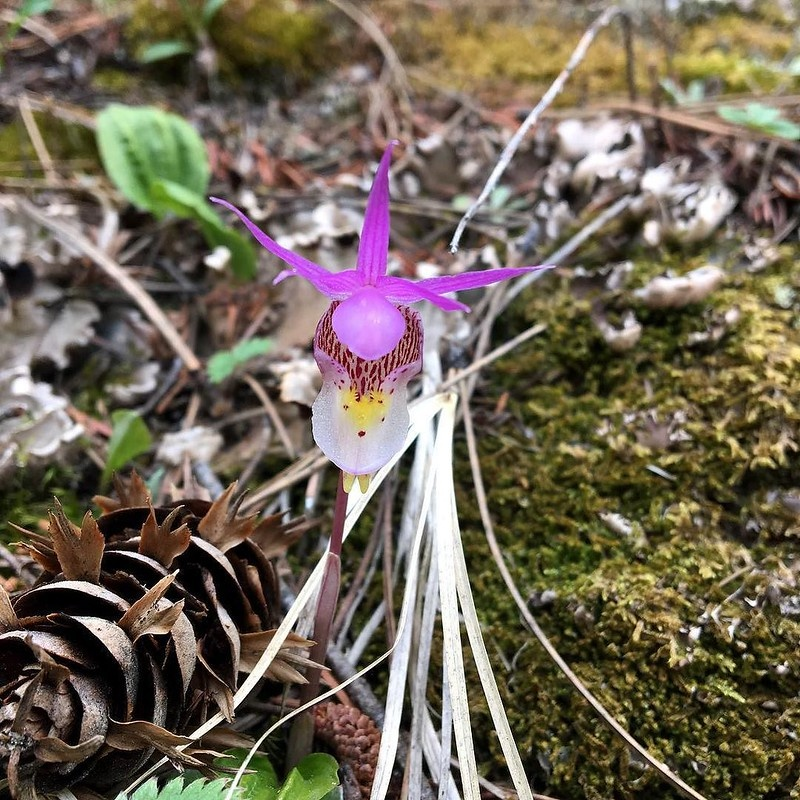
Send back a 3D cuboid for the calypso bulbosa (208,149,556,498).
[{"bbox_3d":[-0.083,-0.164,2.143,0.721,0.729,0.702,3,54,-5],"label":"calypso bulbosa"}]
